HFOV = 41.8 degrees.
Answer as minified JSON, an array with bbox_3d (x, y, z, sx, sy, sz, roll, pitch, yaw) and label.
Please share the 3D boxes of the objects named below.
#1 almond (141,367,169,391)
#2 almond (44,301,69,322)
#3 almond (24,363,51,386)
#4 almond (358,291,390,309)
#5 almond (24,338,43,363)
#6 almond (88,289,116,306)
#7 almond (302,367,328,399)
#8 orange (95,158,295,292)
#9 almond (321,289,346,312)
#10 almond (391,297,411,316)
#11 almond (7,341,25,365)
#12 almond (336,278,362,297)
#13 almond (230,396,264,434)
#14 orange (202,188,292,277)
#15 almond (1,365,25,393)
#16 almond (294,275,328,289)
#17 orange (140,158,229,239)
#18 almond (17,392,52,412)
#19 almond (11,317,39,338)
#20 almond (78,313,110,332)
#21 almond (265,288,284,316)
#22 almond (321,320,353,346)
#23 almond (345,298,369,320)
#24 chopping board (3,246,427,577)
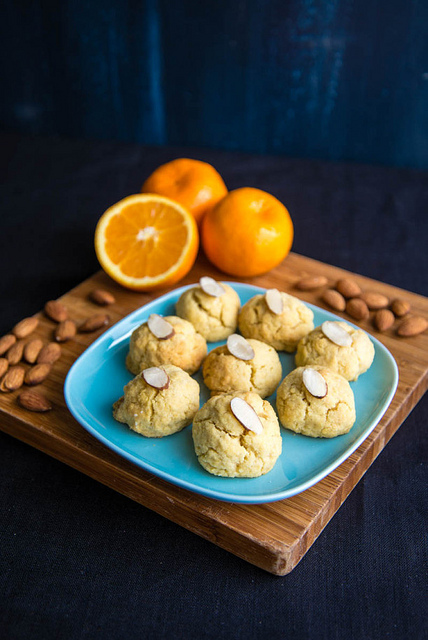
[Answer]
[{"bbox_3d":[-0.104,0.104,1.003,0.041,0.017,0.063,-16,42,-25],"label":"almond"},{"bbox_3d":[-0.384,-0.020,1.364,0.037,0.021,0.063,-9,31,-25],"label":"almond"},{"bbox_3d":[-0.371,0.112,1.164,0.029,0.017,0.051,5,25,11],"label":"almond"},{"bbox_3d":[0.397,-0.047,1.390,0.060,0.032,0.041,23,26,27],"label":"almond"},{"bbox_3d":[-0.398,0.069,1.242,0.028,0.017,0.050,8,41,9],"label":"almond"},{"bbox_3d":[-0.282,-0.055,1.413,0.038,0.020,0.060,0,22,-10],"label":"almond"},{"bbox_3d":[0.178,0.113,0.999,0.037,0.018,0.064,-17,42,-26],"label":"almond"},{"bbox_3d":[-0.038,-0.233,1.477,0.478,0.241,0.382,12,38,10],"label":"orange"},{"bbox_3d":[0.296,-0.044,1.420,0.037,0.033,0.062,2,37,-49],"label":"almond"},{"bbox_3d":[0.464,-0.037,1.368,0.042,0.012,0.044,-9,47,1],"label":"almond"},{"bbox_3d":[-0.438,0.074,1.236,0.026,0.017,0.051,-1,34,-2],"label":"almond"},{"bbox_3d":[0.342,-0.080,1.420,0.054,0.028,0.041,30,51,34],"label":"almond"},{"bbox_3d":[0.054,0.156,0.914,0.048,0.028,0.071,-10,40,-18],"label":"almond"},{"bbox_3d":[0.050,-0.201,1.447,0.231,0.215,0.211,-3,63,-9],"label":"orange"},{"bbox_3d":[-0.414,0.123,1.154,0.033,0.018,0.055,3,40,4],"label":"almond"},{"bbox_3d":[0.250,-0.096,1.442,0.082,0.028,0.036,-11,29,-13],"label":"almond"},{"bbox_3d":[-0.083,-0.331,1.565,0.146,0.211,0.187,13,27,35],"label":"orange"},{"bbox_3d":[-0.350,0.161,1.094,0.058,0.020,0.034,15,39,9],"label":"almond"},{"bbox_3d":[-0.445,0.017,1.321,0.035,0.019,0.060,8,28,22],"label":"almond"},{"bbox_3d":[-0.282,0.004,1.332,0.066,0.022,0.034,-30,37,-19],"label":"almond"},{"bbox_3d":[0.124,-0.030,1.212,0.047,0.007,0.088,3,38,-3],"label":"almond"},{"bbox_3d":[0.248,0.029,1.124,0.038,0.010,0.057,-19,47,-25],"label":"almond"},{"bbox_3d":[0.345,-0.027,1.357,0.038,0.033,0.057,-4,27,-11],"label":"almond"},{"bbox_3d":[0.126,0.092,1.127,0.672,0.068,0.671,20,37,32],"label":"chopping board"}]
